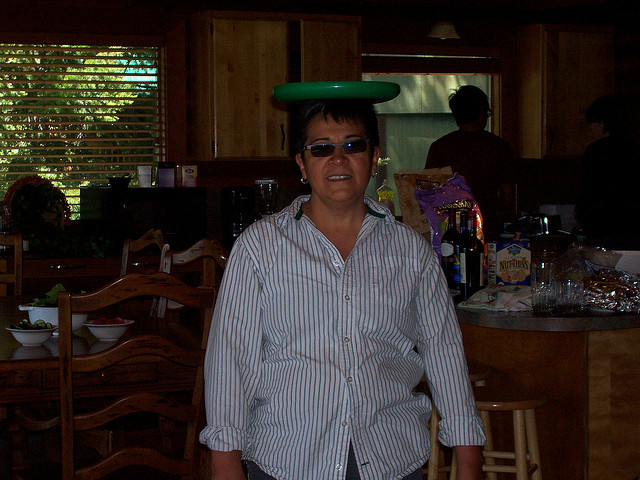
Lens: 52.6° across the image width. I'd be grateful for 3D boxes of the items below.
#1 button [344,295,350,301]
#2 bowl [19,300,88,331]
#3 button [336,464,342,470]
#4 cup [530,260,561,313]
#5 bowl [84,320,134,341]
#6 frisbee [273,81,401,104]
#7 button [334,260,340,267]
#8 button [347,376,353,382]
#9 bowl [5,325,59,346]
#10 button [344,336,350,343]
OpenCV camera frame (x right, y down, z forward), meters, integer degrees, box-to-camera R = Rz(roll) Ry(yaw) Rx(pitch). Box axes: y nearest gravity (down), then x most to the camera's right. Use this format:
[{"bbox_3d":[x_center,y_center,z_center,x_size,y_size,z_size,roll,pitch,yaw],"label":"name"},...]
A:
[{"bbox_3d":[0.067,0.143,1.581,0.013,0.013,0.003,-2,-3,-3],"label":"button"},{"bbox_3d":[-0.991,0.290,2.431,0.196,0.068,0.139,2,-2,-1],"label":"bowl"},{"bbox_3d":[0.047,0.541,1.527,0.011,0.007,0.011,0,-3,-8],"label":"button"},{"bbox_3d":[0.853,0.179,2.437,0.103,0.185,0.146,-1,1,18],"label":"cup"},{"bbox_3d":[-0.836,0.361,2.543,0.198,0.068,0.135,-1,1,-6],"label":"bowl"},{"bbox_3d":[0.053,-0.390,1.720,0.341,0.065,0.175,-1,1,-3],"label":"frisbee"},{"bbox_3d":[0.044,0.061,1.607,0.015,0.014,0.003,-1,-18,-1],"label":"button"},{"bbox_3d":[0.073,0.338,1.552,0.010,0.011,0.003,3,-13,-3],"label":"button"},{"bbox_3d":[-1.062,0.366,2.481,0.159,0.073,0.200,-1,1,32],"label":"bowl"},{"bbox_3d":[0.066,0.244,1.564,0.013,0.013,0.003,-1,-6,-5],"label":"button"}]
